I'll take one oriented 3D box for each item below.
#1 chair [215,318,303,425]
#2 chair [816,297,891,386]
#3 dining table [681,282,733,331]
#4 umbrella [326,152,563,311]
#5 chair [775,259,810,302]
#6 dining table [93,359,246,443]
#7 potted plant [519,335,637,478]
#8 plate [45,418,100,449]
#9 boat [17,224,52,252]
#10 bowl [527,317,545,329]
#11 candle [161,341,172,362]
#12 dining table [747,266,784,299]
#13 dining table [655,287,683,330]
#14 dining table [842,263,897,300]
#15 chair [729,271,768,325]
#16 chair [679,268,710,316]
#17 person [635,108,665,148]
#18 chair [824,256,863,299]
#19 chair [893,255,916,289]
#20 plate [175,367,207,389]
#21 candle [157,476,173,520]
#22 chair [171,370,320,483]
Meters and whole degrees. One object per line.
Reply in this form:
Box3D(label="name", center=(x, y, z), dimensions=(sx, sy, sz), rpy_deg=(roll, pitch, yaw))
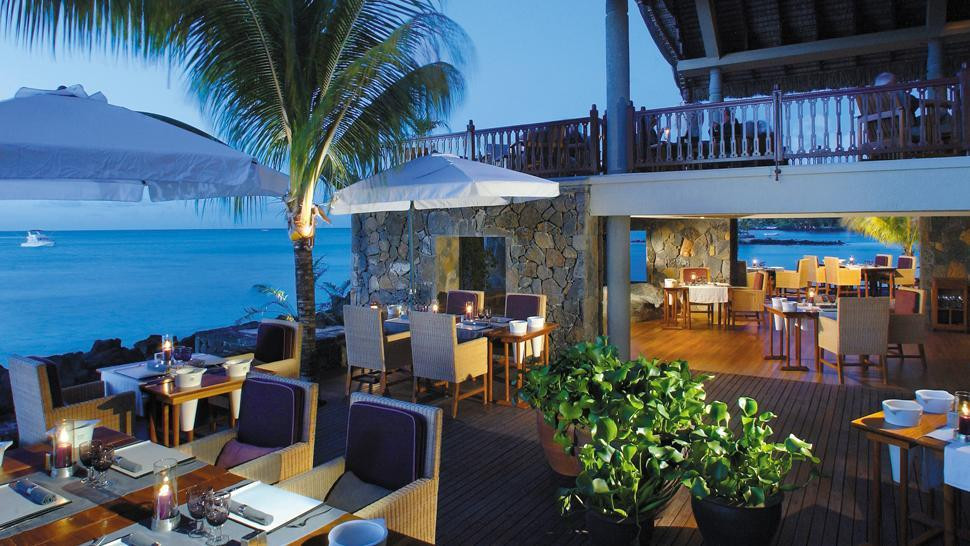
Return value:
Box3D(label="chair", center=(-3.643, 1.316, 9.042), dimensions=(1.154, 1.657, 1.270), rpy_deg=(0, -1, 31))
Box3D(label="chair", center=(6.334, 1.046, 10.646), dimensions=(1.163, 1.476, 1.476), rpy_deg=(-3, 5, 12))
Box3D(label="dining table", center=(5.223, 0.808, 14.662), dimensions=(1.104, 1.092, 1.146), rpy_deg=(0, 3, 26))
Box3D(label="umbrella", center=(-0.594, -0.797, 10.003), dimensions=(3.189, 2.299, 2.856), rpy_deg=(-2, 5, 24))
Box3D(label="chair", center=(8.926, 0.149, 18.076), dimensions=(0.926, 1.135, 1.613), rpy_deg=(-1, 5, 27))
Box3D(label="dining table", center=(-3.872, 1.475, 7.740), dimensions=(1.363, 0.944, 1.471), rpy_deg=(3, 2, 39))
Box3D(label="potted plant", center=(0.905, 1.628, 7.468), dimensions=(1.507, 1.755, 1.783), rpy_deg=(-1, 1, 27))
Box3D(label="plate", center=(-3.933, 1.513, 5.943), dimensions=(0.368, 0.195, 0.287), rpy_deg=(5, -5, -27))
Box3D(label="boat", center=(-23.543, -1.787, 32.552), dimensions=(0.711, 1.193, 2.586), rpy_deg=(-10, 7, -43))
Box3D(label="bowl", center=(0.787, 0.763, 9.682), dimensions=(0.181, 0.109, 0.181), rpy_deg=(0, -3, 0))
Box3D(label="candle", center=(-4.022, 0.977, 7.873), dimensions=(0.122, 0.266, 0.118), rpy_deg=(-6, 5, -32))
Box3D(label="dining table", center=(7.453, 0.247, 16.491), dimensions=(0.851, 1.212, 0.970), rpy_deg=(1, 4, 0))
Box3D(label="dining table", center=(4.618, 0.764, 15.196), dimensions=(0.828, 0.849, 0.853), rpy_deg=(3, 8, 19))
Box3D(label="dining table", center=(10.288, 0.176, 16.597), dimensions=(0.672, 0.824, 0.861), rpy_deg=(-4, 7, -24))
Box3D(label="chair", center=(6.393, 0.554, 15.183), dimensions=(0.824, 1.288, 2.728), rpy_deg=(-2, 5, 23))
Box3D(label="chair", center=(5.128, 0.352, 15.179), dimensions=(0.880, 1.558, 0.938), rpy_deg=(2, 5, 17))
Box3D(label="person", center=(3.000, -2.635, 11.220), dimensions=(0.478, 0.747, 0.440), rpy_deg=(-7, 5, -33))
Box3D(label="chair", center=(9.800, 0.144, 17.001), dimensions=(0.842, 1.444, 1.025), rpy_deg=(-1, 4, 3))
Box3D(label="chair", center=(11.566, -0.063, 17.037), dimensions=(0.456, 0.748, 1.009), rpy_deg=(0, 6, 34))
Box3D(label="plate", center=(-3.560, 1.255, 7.502), dimensions=(0.200, 0.112, 0.261), rpy_deg=(9, 13, 42))
Box3D(label="candle", center=(-2.797, 1.958, 5.399), dimensions=(0.141, 0.336, 0.062), rpy_deg=(-6, 5, -32))
Box3D(label="chair", center=(-2.532, 1.677, 6.926), dimensions=(1.044, 1.567, 1.141), rpy_deg=(3, 1, 33))
